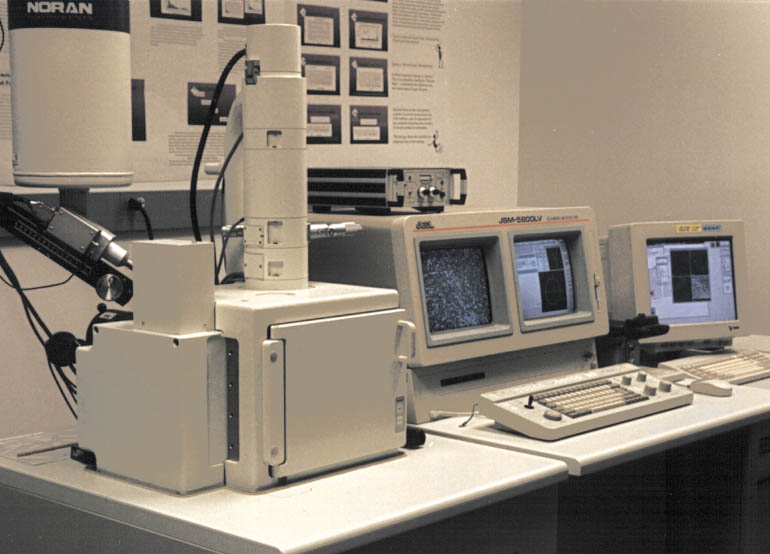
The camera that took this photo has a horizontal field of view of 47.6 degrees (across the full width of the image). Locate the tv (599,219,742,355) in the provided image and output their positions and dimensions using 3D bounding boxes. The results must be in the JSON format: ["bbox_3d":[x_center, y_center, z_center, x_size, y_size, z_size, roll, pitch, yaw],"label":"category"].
[{"bbox_3d":[0.989,0.043,3.067,0.497,0.425,0.270,-1,4,-24],"label":"tv"}]

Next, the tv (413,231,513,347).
[{"bbox_3d":[0.222,0.041,2.588,0.176,0.301,0.348,-15,-11,42],"label":"tv"}]

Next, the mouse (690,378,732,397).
[{"bbox_3d":[1.017,0.341,2.706,0.059,0.025,0.082,-4,10,-42],"label":"mouse"}]
